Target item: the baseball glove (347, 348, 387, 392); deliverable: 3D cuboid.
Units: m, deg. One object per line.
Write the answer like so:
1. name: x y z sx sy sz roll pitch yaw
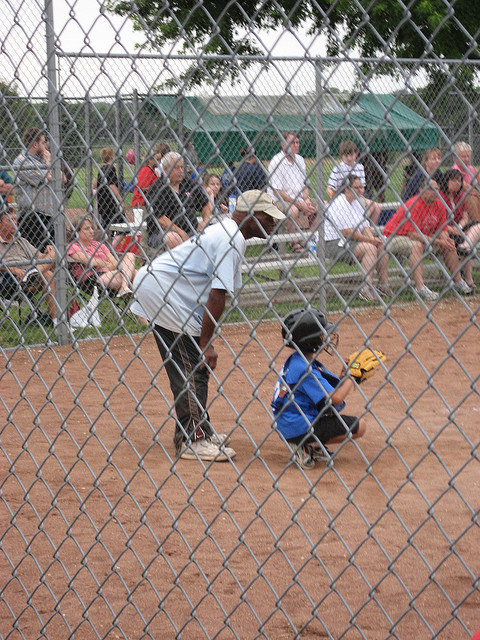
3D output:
1. baseball glove: 0.759 0.309 5.430 0.284 0.115 0.209 -44 25 -22

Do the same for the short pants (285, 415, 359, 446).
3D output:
1. short pants: 0.495 0.635 5.411 0.443 0.139 0.258 -5 6 -7

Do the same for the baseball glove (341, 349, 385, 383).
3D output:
1. baseball glove: 0.722 0.271 5.287 0.208 0.106 0.267 27 22 16
